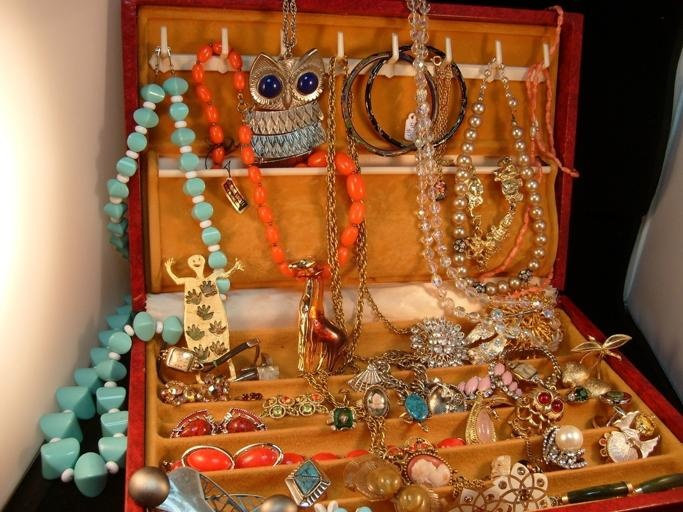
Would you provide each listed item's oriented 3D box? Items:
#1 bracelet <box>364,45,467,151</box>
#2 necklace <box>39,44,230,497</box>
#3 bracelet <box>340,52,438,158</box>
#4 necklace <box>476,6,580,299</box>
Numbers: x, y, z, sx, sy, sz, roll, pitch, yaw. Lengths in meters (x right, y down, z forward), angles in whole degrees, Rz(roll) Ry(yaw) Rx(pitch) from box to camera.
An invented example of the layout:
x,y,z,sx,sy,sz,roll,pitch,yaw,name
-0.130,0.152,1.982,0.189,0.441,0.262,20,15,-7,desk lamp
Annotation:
x,y,z,sx,sy,sz,roll,pitch,yaw,name
0.211,-0.469,1.883,0.290,0.300,0.058,-2,8,-6,bracelet
-0.554,-0.004,1.702,0.386,1.225,0.206,13,-21,-16,necklace
0.116,-0.391,1.656,0.286,0.278,0.055,-30,15,-17,bracelet
0.621,-0.380,2.016,0.316,0.667,0.140,1,11,-1,necklace
